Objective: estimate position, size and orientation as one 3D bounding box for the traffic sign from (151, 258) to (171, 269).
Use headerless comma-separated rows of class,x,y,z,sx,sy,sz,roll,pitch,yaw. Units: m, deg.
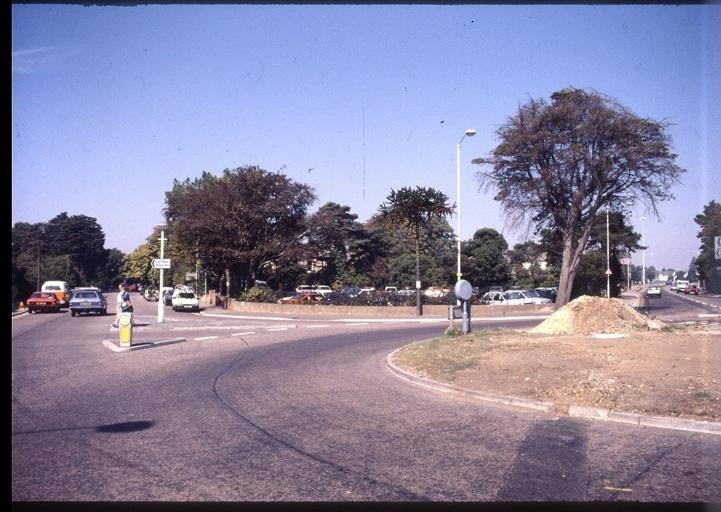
traffic sign,-11.001,0.422,36.433,1.198,0.765,0.171,2,-8,-21
